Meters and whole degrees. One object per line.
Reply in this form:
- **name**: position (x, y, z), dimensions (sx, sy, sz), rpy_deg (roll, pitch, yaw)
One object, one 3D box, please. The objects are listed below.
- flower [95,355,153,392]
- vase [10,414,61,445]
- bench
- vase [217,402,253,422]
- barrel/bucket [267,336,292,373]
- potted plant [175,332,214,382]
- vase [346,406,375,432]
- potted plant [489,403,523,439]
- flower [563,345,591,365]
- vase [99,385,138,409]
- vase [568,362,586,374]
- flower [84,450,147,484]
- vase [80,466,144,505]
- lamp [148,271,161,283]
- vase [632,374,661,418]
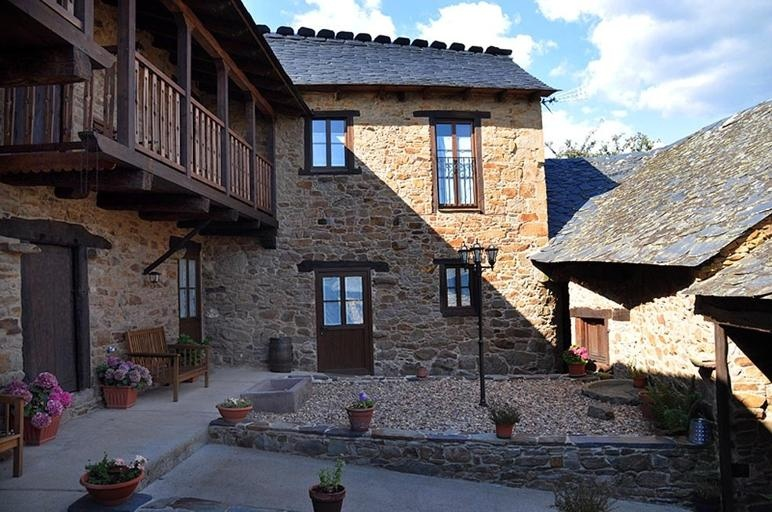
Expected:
- **flower**: position (-4.289, 1.956, 10.123), dimensions (0.616, 0.382, 0.699), rpy_deg (12, 10, 10)
- **vase**: position (-4.891, 2.451, 8.491), dimensions (0.460, 0.345, 0.526), rpy_deg (-2, -7, 15)
- **bench**: position (-3.964, 1.923, 11.109), dimensions (0.984, 1.135, 2.030), rpy_deg (2, -4, -2)
- **vase**: position (-2.361, 2.415, 9.380), dimensions (0.487, 0.279, 0.283), rpy_deg (1, -7, -13)
- **barrel/bucket**: position (-2.243, 2.139, 13.276), dimensions (0.793, 0.712, 0.726), rpy_deg (-1, -7, 0)
- **potted plant**: position (-3.673, 1.930, 11.540), dimensions (0.416, 0.557, 0.995), rpy_deg (-1, 0, -2)
- **vase**: position (-0.401, 2.491, 9.334), dimensions (0.425, 0.263, 0.388), rpy_deg (0, -11, -1)
- **potted plant**: position (1.887, 2.557, 9.487), dimensions (0.598, 0.528, 0.528), rpy_deg (1, -12, 0)
- **flower**: position (3.929, 2.036, 12.558), dimensions (0.444, 0.269, 0.416), rpy_deg (5, -7, -21)
- **vase**: position (-4.392, 2.290, 9.974), dimensions (0.533, 0.316, 0.410), rpy_deg (0, -10, 0)
- **vase**: position (3.926, 2.309, 12.557), dimensions (0.290, 0.192, 0.264), rpy_deg (2, -11, -15)
- **flower**: position (-3.363, 2.640, 7.556), dimensions (0.543, 0.208, 0.497), rpy_deg (3, -6, -20)
- **vase**: position (-3.266, 2.771, 7.287), dimensions (0.487, 0.167, 0.446), rpy_deg (2, 0, -40)
- **lamp**: position (-4.267, 0.383, 11.282), dimensions (0.210, 0.198, 0.227), rpy_deg (-1, -1, 4)
- **vase**: position (4.352, 2.354, 10.270), dimensions (0.587, 0.545, 0.575), rpy_deg (-4, 6, -34)
